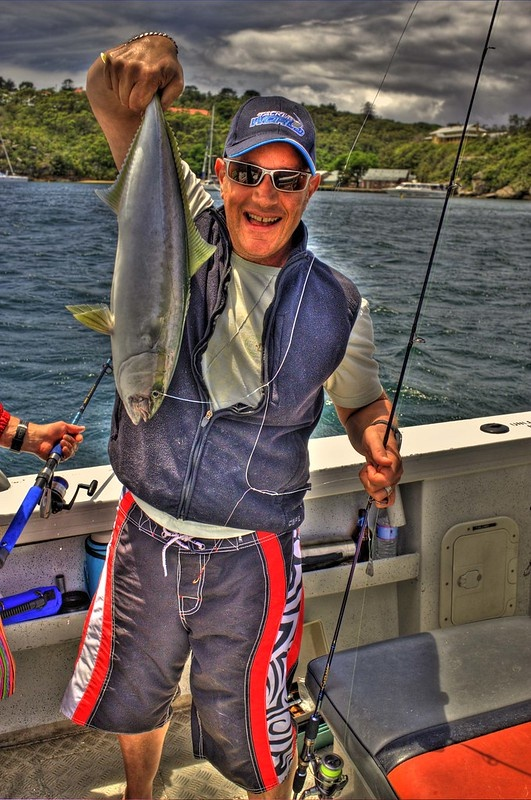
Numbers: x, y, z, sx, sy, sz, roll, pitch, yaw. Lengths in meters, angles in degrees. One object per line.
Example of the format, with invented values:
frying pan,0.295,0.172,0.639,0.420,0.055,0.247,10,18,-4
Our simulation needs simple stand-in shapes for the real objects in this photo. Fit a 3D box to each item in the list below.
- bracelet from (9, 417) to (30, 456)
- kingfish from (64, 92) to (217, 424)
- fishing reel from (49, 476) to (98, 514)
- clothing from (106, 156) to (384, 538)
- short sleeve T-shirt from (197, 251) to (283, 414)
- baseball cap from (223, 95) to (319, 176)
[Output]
bracelet,-0.625,0.091,1.778,0.047,0.077,0.079,14,41,-10
kingfish,-0.220,-0.244,1.272,0.291,0.558,0.136,-10,10,-16
fishing reel,-0.564,0.282,2.057,0.113,0.054,0.163,0,12,17
clothing,-0.036,-0.124,1.671,0.757,0.740,0.287,9,12,-6
short sleeve T-shirt,-0.047,-0.129,1.446,0.234,0.299,0.083,7,-5,-6
baseball cap,0.012,-0.558,1.463,0.143,0.098,0.192,15,26,-21
